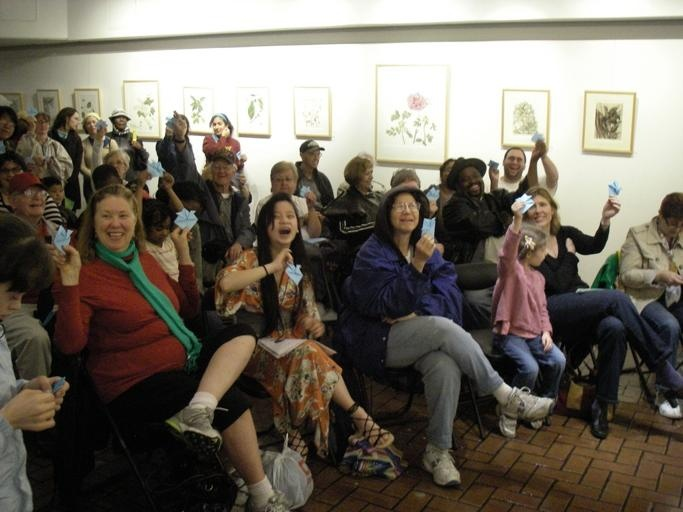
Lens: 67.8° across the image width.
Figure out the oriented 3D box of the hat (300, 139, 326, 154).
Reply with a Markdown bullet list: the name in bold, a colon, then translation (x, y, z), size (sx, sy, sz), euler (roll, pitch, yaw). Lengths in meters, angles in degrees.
- **hat**: translation (-0.360, -1.347, 6.183), size (0.248, 0.138, 0.187), euler (-15, -1, 33)

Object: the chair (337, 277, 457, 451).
- **chair**: translation (0.362, 0.681, 3.310), size (0.817, 1.272, 0.778), euler (-9, -19, 30)

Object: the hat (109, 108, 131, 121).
- **hat**: translation (-3.043, -1.935, 6.919), size (0.226, 0.074, 0.210), euler (-6, -3, -5)

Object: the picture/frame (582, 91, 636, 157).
- **picture/frame**: translation (3.038, -1.518, 5.717), size (0.664, 0.864, 0.061), euler (3, 2, 14)

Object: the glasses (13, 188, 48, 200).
- **glasses**: translation (-2.351, -0.456, 3.829), size (0.134, 0.047, 0.103), euler (-6, -3, 26)

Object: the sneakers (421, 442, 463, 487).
- **sneakers**: translation (0.603, 1.287, 3.139), size (0.132, 0.151, 0.301), euler (-2, 0, -27)

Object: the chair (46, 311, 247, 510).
- **chair**: translation (-0.959, 0.776, 2.642), size (0.992, 0.719, 0.877), euler (-8, 14, -34)

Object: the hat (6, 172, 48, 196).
- **hat**: translation (-2.410, -0.545, 3.873), size (0.211, 0.129, 0.164), euler (-19, -3, 17)

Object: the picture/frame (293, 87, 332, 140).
- **picture/frame**: translation (-0.359, -1.851, 6.480), size (0.620, 0.787, 0.061), euler (1, 5, 17)
